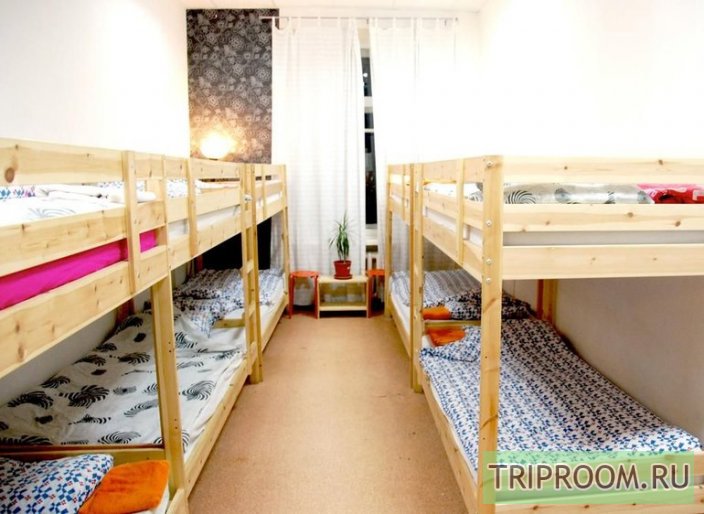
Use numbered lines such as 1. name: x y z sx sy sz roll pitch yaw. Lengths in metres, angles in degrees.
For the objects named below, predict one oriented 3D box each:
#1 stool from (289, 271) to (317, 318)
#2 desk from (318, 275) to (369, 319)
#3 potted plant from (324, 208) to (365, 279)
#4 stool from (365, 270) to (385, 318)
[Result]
1. stool: -0.489 0.359 5.188 0.290 0.448 0.431 -2 14 -5
2. desk: -0.094 0.397 5.222 0.622 0.427 0.389 -1 2 -5
3. potted plant: -0.052 -0.122 5.137 0.364 0.641 0.345 -2 14 -6
4. stool: 0.230 0.334 5.201 0.192 0.468 0.389 -1 14 1
